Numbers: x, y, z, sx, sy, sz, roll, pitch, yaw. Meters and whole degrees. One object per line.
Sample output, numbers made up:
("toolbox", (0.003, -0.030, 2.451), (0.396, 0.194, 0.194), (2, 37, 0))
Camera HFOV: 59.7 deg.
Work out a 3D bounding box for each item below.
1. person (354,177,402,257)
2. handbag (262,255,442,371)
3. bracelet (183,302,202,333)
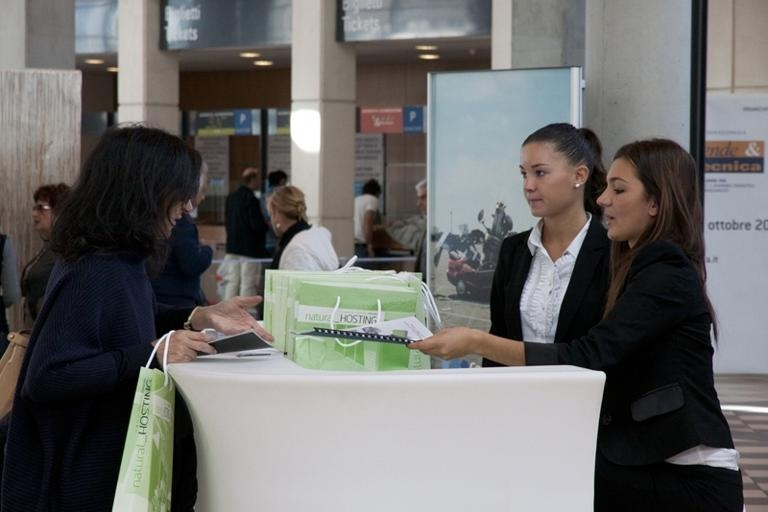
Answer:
("person", (-0.126, -0.537, 9.147), (0.542, 0.997, 0.945), (-1, 7, 0))
("handbag", (-0.129, 0.187, 2.165), (0.499, 0.377, 0.329), (1, -2, -2))
("bracelet", (-0.640, 0.200, 2.213), (0.063, 0.060, 0.065), (9, 26, 29))
